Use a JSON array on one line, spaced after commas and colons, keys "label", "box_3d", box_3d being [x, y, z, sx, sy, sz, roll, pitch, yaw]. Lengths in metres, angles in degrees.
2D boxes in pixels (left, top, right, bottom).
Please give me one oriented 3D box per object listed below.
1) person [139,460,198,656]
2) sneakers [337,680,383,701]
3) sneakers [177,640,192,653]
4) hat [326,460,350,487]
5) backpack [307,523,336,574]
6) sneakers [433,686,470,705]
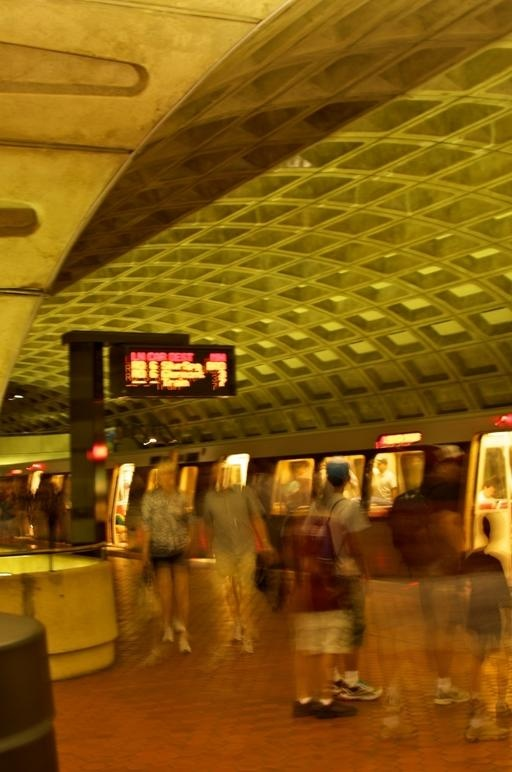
[{"label": "person", "box_3d": [-1.143, 2.245, 7.711, 0.633, 2.490, 0.637, -3, 0, -7]}, {"label": "sneakers", "box_3d": [0.989, 2.998, 5.860, 0.532, 0.217, 0.168, -2, -5, 4]}, {"label": "sneakers", "box_3d": [-0.964, 3.452, 7.783, 0.064, 0.171, 0.180, -30, -17, 29]}, {"label": "hat", "box_3d": [0.788, 0.850, 5.698, 0.205, 0.229, 0.256, 2, 3, 4]}, {"label": "backpack", "box_3d": [0.579, 1.491, 5.467, 0.241, 0.451, 0.295, -2, 0, -26]}, {"label": "sneakers", "box_3d": [1.846, 2.911, 5.542, 0.293, 0.105, 0.195, 1, -11, -4]}]
